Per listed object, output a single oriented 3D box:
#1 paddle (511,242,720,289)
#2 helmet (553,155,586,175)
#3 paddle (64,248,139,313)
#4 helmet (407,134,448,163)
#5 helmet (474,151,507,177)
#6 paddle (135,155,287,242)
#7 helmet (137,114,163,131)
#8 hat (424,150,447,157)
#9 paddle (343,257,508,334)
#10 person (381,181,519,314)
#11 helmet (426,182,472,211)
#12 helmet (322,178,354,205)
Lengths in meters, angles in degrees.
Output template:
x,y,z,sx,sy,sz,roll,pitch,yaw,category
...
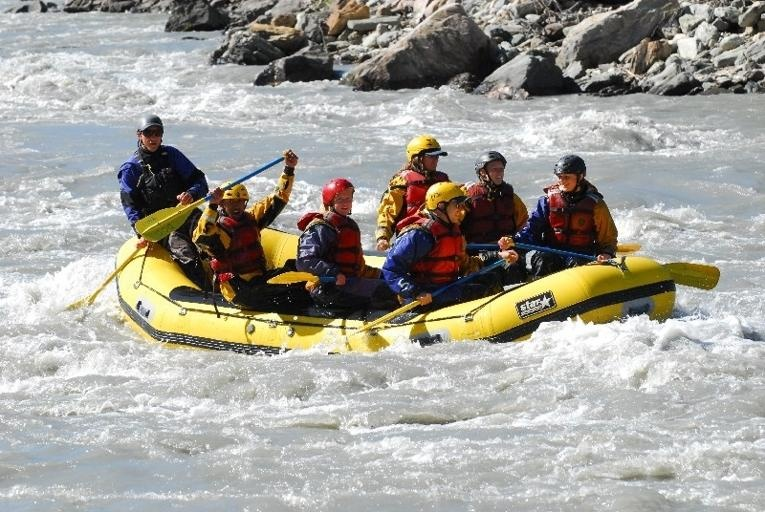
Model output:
x,y,z,sx,sy,sz,roll,pitch,yaw,category
3.106,0.151,18.899,3.069,0.313,0.186,9,16,1,paddle
2.546,-1.244,18.864,0.403,0.270,0.290,7,6,27,helmet
-4.194,0.404,20.516,1.301,0.184,0.199,-43,33,-17,paddle
0.582,-1.554,19.691,0.589,0.209,0.348,-4,-4,21,helmet
1.461,-1.325,19.266,0.447,0.273,0.334,4,6,40,helmet
-2.336,-0.942,20.210,2.615,0.097,0.433,-35,20,-31,paddle
-3.416,-1.929,20.060,0.330,0.214,0.323,-3,14,-9,helmet
0.786,-1.466,19.662,0.255,0.104,0.389,6,14,25,hat
0.566,0.570,18.640,2.213,0.206,0.111,-24,32,-5,paddle
0.789,-0.146,18.637,1.647,1.687,0.785,-4,17,-11,person
0.836,-0.842,18.631,0.565,0.342,0.367,-21,2,17,helmet
-0.685,-0.888,18.787,0.384,0.139,0.431,0,-19,-40,helmet
